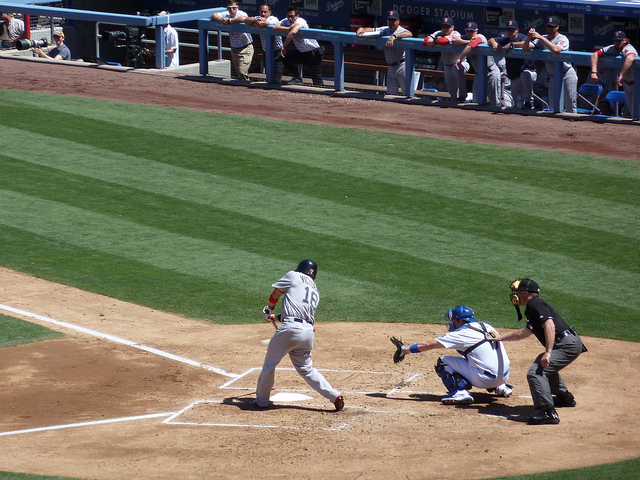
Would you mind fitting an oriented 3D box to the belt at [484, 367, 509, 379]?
[{"bbox_3d":[2.580,1.953,20.234,0.368,0.126,0.066,-1,9,-20],"label":"belt"}]

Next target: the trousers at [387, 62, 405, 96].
[{"bbox_3d":[1.651,-3.450,29.671,0.382,0.673,0.615,3,8,2],"label":"trousers"}]

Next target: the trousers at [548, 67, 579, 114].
[{"bbox_3d":[4.947,-3.035,28.138,0.598,0.931,0.856,4,8,9],"label":"trousers"}]

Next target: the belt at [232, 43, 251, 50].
[{"bbox_3d":[-1.692,-4.244,30.452,0.338,0.116,0.078,2,9,-3],"label":"belt"}]

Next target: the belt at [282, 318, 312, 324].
[{"bbox_3d":[-0.316,1.170,20.084,0.411,0.092,0.092,1,8,-6],"label":"belt"}]

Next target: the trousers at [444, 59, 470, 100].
[{"bbox_3d":[2.846,-3.332,28.916,0.510,0.816,0.933,3,8,4],"label":"trousers"}]

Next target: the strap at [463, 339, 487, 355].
[{"bbox_3d":[2.268,1.565,20.223,0.254,0.049,0.216,-24,-1,6],"label":"strap"}]

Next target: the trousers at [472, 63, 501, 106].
[{"bbox_3d":[3.443,-3.226,28.748,0.608,0.860,0.629,6,9,18],"label":"trousers"}]

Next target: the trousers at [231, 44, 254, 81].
[{"bbox_3d":[-1.708,-3.945,30.809,0.455,0.802,0.609,2,8,-3],"label":"trousers"}]

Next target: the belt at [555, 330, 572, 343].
[{"bbox_3d":[3.512,1.394,20.006,0.160,0.044,0.158,-35,-2,20],"label":"belt"}]

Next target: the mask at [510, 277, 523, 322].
[{"bbox_3d":[2.849,0.852,20.164,0.229,0.476,0.405,-4,5,1],"label":"mask"}]

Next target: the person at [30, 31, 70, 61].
[{"bbox_3d":[-6.284,-4.659,33.496,1.201,0.694,0.629,1,5,19],"label":"person"}]

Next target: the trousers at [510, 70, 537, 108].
[{"bbox_3d":[4.229,-3.137,28.769,0.435,0.781,0.716,1,8,-12],"label":"trousers"}]

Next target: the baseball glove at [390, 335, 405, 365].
[{"bbox_3d":[1.124,1.602,20.266,0.232,0.390,0.159,-7,9,-14],"label":"baseball glove"}]

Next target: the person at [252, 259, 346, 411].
[{"bbox_3d":[-0.303,1.415,20.243,1.215,2.129,0.688,2,9,-2],"label":"person"}]

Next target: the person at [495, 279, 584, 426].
[{"bbox_3d":[3.215,1.608,19.913,1.059,2.006,0.674,4,9,8],"label":"person"}]

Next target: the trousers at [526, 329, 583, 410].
[{"bbox_3d":[3.361,1.778,20.135,0.848,1.432,0.765,3,15,22],"label":"trousers"}]
